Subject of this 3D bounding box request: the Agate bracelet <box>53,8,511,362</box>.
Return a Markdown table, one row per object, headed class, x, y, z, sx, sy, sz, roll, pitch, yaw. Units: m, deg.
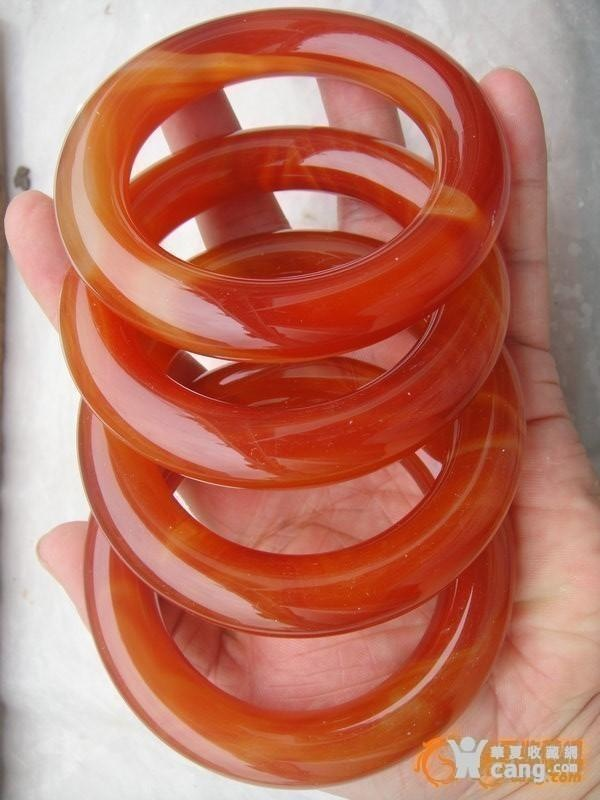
| class | x | y | z | sx | sy | sz | roll | pitch | yaw |
| --- | --- | --- | --- | --- | --- | --- | --- | --- | --- |
| Agate bracelet | -0.020 | -0.214 | 0.931 | 0.553 | 0.140 | 0.489 | 4 | 67 | 6 |
